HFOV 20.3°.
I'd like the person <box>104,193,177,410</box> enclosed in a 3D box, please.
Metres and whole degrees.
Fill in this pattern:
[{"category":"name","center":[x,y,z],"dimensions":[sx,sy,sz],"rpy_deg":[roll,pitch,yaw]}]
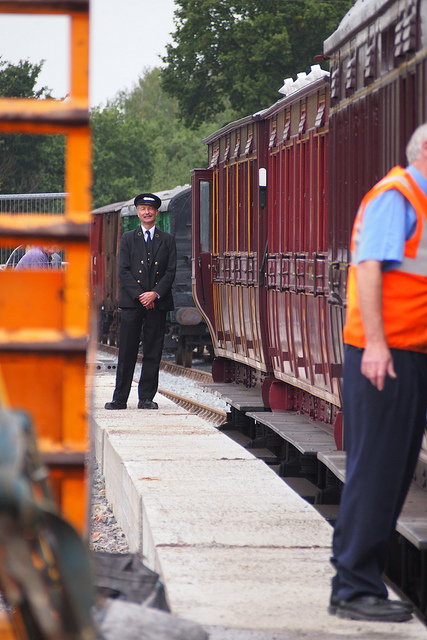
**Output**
[{"category":"person","center":[-0.632,-0.177,10.238],"dimensions":[0.602,1.822,0.966],"rpy_deg":[-2,3,-1]}]

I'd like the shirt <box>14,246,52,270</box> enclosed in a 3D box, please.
[{"category":"shirt","center":[-1.743,-0.605,11.518],"dimensions":[0.275,0.179,1.377],"rpy_deg":[-2,3,-8]}]

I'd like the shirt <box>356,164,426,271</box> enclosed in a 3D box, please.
[{"category":"shirt","center":[0.634,-0.300,3.886],"dimensions":[0.159,0.268,0.274],"rpy_deg":[3,5,-13]}]

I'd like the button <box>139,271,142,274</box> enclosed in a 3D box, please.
[{"category":"button","center":[-0.635,-0.414,10.275],"dimensions":[0.020,0.020,0.020],"rpy_deg":[-2,12,-11]}]
